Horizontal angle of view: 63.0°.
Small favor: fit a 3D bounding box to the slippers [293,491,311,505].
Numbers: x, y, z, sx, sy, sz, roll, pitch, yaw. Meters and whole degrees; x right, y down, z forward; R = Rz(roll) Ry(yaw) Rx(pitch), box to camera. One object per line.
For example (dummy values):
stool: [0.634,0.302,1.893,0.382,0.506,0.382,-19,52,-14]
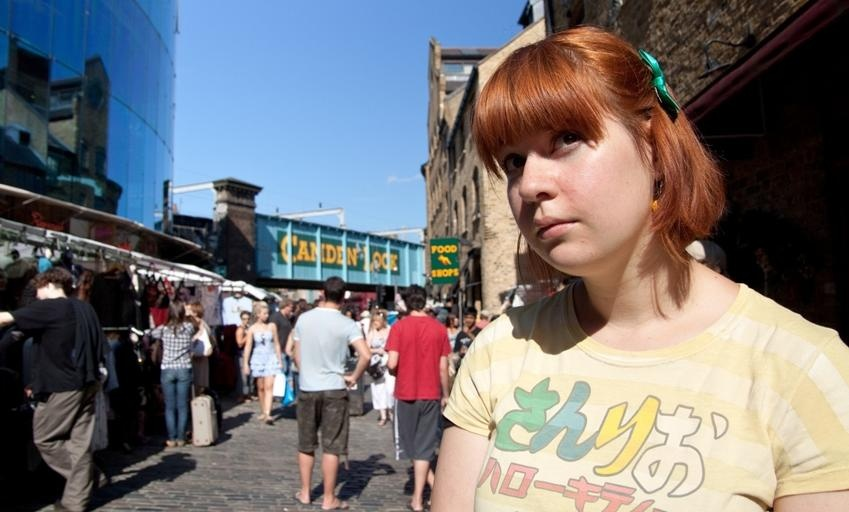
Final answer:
slippers: [-1.718,3.378,9.736,0.130,0.114,0.273,3,1,-24]
